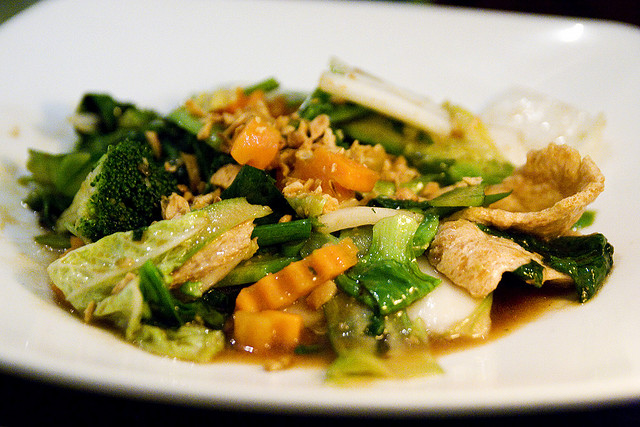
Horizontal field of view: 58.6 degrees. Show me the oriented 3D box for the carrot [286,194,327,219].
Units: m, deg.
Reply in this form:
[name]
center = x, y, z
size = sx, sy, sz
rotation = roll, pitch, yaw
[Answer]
[carrot]
center = -0.086, -0.052, 3.541
size = 0.216, 0.086, 0.122
rotation = 19, 86, 6
